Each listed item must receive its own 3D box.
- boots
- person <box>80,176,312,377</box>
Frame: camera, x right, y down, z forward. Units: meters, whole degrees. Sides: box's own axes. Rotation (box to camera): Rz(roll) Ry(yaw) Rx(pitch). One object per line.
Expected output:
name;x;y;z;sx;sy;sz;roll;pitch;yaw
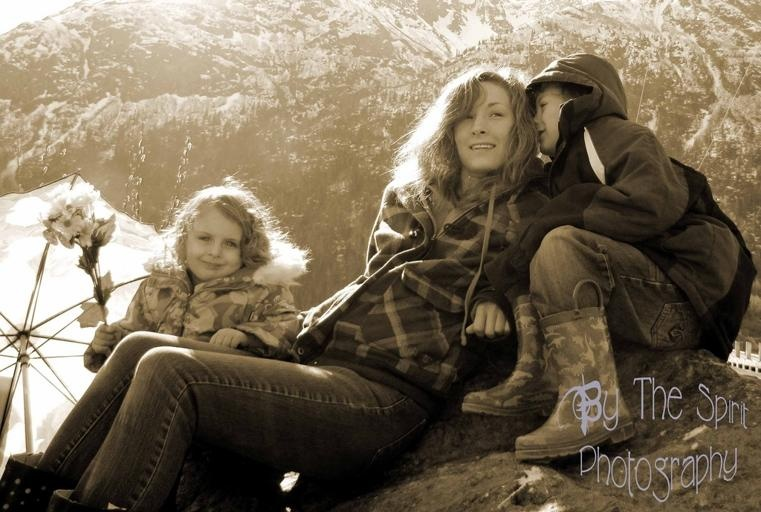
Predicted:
boots;0.781;0.504;3.623;0.747;0.735;0.786;-1;-1;-14
person;-0.975;0.166;3.971;1.102;0.962;0.828;3;-4;0
